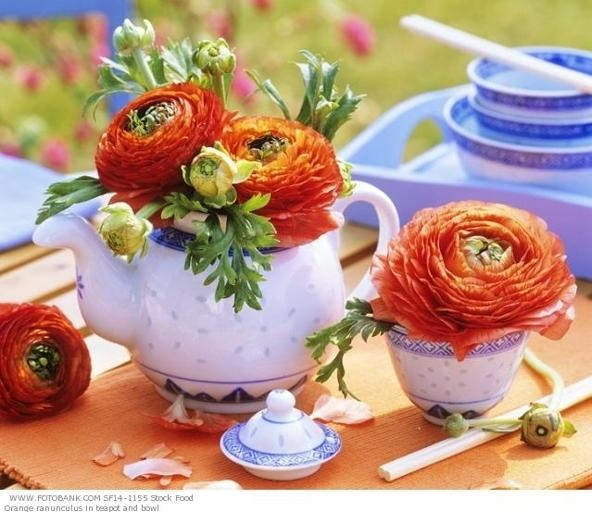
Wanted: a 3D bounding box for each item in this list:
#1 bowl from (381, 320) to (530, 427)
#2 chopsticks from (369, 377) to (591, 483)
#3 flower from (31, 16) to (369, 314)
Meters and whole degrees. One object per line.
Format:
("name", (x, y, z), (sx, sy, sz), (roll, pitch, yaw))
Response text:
("bowl", (0.116, 0.082, 0.488), (0.097, 0.053, 0.086), (-4, 6, -38))
("chopsticks", (0.136, 0.131, 0.466), (0.244, 0.018, 0.019), (-13, 63, -23))
("flower", (-0.050, -0.065, 0.542), (0.310, 0.221, 0.190), (7, 40, 12))
